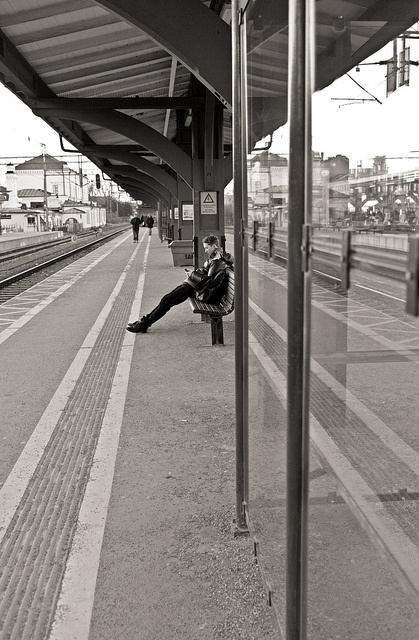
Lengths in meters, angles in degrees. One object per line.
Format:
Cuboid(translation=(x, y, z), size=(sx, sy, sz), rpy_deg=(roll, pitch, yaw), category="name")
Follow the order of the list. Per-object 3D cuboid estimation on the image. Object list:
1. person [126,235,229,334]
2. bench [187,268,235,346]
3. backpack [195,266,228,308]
Cuboid(translation=(-0.434, -0.538, 7.345), size=(1.442, 1.297, 0.748), rpy_deg=(-8, -10, 4), category="person")
Cuboid(translation=(0.138, -0.161, 7.237), size=(0.406, 0.970, 1.302), rpy_deg=(1, 1, 5), category="bench")
Cuboid(translation=(0.032, -0.431, 6.872), size=(0.263, 0.615, 0.163), rpy_deg=(14, 7, 24), category="backpack")
